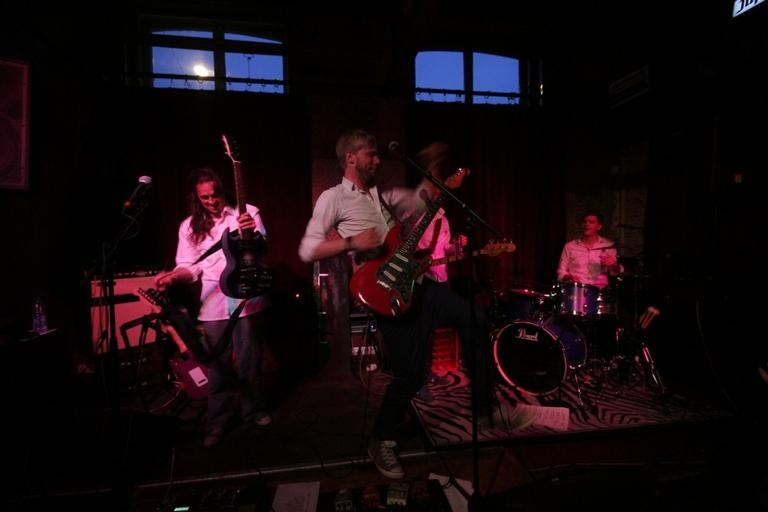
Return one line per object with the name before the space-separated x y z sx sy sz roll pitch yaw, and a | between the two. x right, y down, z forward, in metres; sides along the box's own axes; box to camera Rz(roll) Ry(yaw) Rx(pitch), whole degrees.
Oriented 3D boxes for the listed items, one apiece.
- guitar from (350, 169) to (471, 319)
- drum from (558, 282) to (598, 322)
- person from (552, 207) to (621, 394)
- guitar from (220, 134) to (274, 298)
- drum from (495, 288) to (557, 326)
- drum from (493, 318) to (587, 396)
guitar | 0.220 -0.129 5.514 0.701 1.800 0.218 29 -15 -2
drum | 2.004 0.470 6.086 0.330 0.250 0.338 4 -9 1
person | 2.330 0.370 6.908 0.660 1.746 0.515 8 26 26
guitar | -1.363 -0.351 5.862 0.496 1.547 0.248 -1 3 -16
drum | 1.487 0.543 6.373 0.398 0.435 0.430 2 9 -28
drum | 1.635 1.011 6.391 0.868 0.870 0.582 4 19 33
